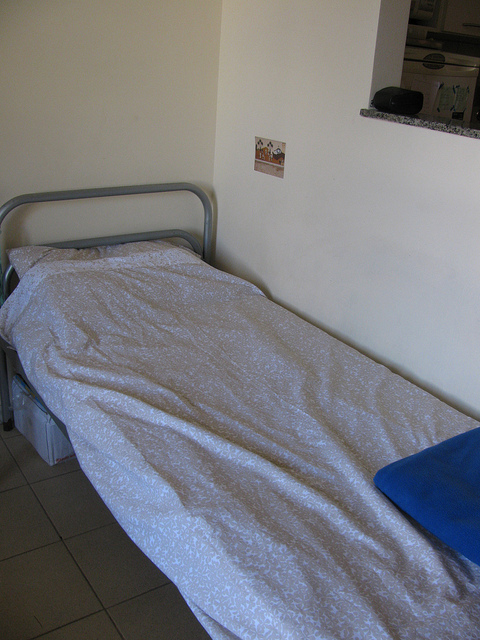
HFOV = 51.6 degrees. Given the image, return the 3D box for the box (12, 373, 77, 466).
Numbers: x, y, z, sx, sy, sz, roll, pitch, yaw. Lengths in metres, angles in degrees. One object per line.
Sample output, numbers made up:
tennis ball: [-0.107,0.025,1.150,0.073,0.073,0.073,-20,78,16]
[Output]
box: [-0.752,0.386,1.960,0.185,0.235,0.323,-12,30,-41]
